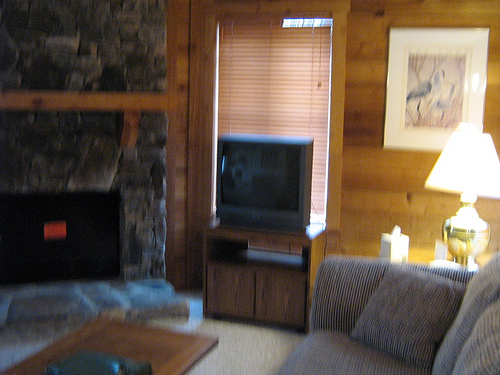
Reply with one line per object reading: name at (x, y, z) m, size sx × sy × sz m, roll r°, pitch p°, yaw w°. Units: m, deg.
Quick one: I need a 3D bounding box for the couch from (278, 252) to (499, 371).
couch at (0.762, 0.625, 2.310) m, size 0.965 × 0.635 × 0.811 m, roll 7°, pitch 9°, yaw 31°

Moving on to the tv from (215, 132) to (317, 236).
tv at (0.020, 0.064, 3.489) m, size 0.724 × 0.707 × 0.397 m, roll 7°, pitch -23°, yaw -17°

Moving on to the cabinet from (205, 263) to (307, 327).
cabinet at (0.044, 0.806, 3.340) m, size 0.815 × 0.439 × 0.449 m, roll 3°, pitch 1°, yaw 16°

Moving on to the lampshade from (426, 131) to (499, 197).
lampshade at (1.378, -0.164, 2.843) m, size 0.421 × 0.391 × 0.165 m, roll 5°, pitch 8°, yaw 21°
